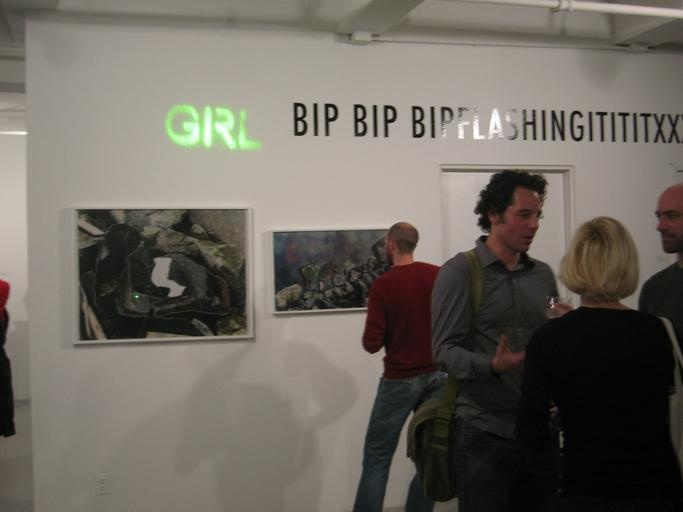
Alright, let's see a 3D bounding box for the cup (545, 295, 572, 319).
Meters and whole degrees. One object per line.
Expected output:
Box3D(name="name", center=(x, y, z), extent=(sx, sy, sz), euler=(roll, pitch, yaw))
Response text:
Box3D(name="cup", center=(1.036, 0.241, 2.884), extent=(0.086, 0.112, 0.114), euler=(-2, -7, 8))
